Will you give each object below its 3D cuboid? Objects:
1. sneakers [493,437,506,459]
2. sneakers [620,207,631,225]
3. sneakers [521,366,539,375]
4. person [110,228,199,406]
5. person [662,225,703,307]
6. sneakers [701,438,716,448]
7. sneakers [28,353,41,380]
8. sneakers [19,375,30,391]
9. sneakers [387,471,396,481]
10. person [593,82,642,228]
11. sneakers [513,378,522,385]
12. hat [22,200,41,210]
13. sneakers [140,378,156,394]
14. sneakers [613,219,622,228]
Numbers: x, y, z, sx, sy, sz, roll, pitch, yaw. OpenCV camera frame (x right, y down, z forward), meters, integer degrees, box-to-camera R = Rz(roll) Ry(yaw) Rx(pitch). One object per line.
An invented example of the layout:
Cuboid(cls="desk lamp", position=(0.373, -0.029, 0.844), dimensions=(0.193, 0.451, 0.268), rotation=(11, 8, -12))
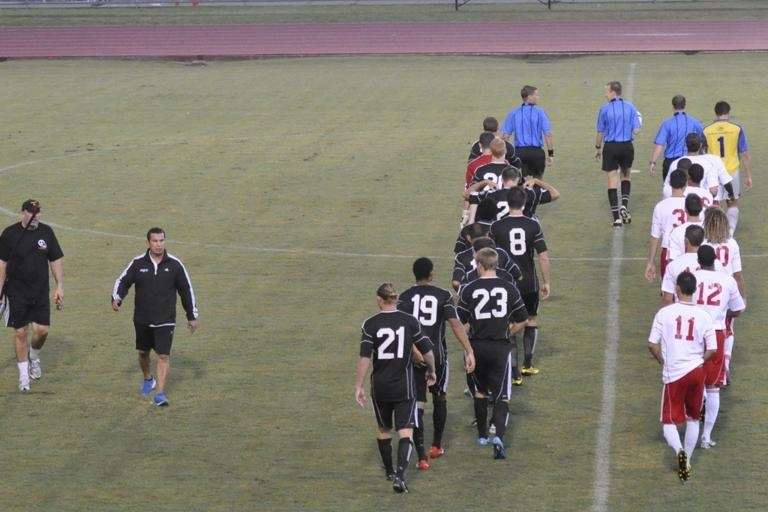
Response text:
Cuboid(cls="sneakers", position=(2.478, 4.166, 44.389), dimensions=(0.225, 0.510, 0.238), rotation=(-8, 16, 20))
Cuboid(cls="sneakers", position=(6.130, -1.057, 51.855), dimensions=(0.202, 0.472, 0.235), rotation=(-14, 19, 27))
Cuboid(cls="sneakers", position=(3.272, 2.589, 46.146), dimensions=(0.370, 0.224, 0.151), rotation=(-4, 45, -3))
Cuboid(cls="person", position=(-5.062, 1.320, 45.578), dimensions=(1.746, 3.875, 0.951), rotation=(-3, 14, -4))
Cuboid(cls="person", position=(6.388, 0.050, 45.205), dimensions=(0.781, 0.537, 1.821), rotation=(-4, 48, -2))
Cuboid(cls="sneakers", position=(7.040, 4.067, 44.582), dimensions=(0.144, 0.141, 0.356), rotation=(8, 16, 40))
Cuboid(cls="sneakers", position=(-7.829, 2.487, 46.202), dimensions=(0.238, 0.554, 0.290), rotation=(-8, -6, -41))
Cuboid(cls="sneakers", position=(-8.046, 2.863, 45.894), dimensions=(0.212, 0.314, 0.150), rotation=(-2, 14, -1))
Cuboid(cls="sneakers", position=(0.132, 4.731, 43.932), dimensions=(0.112, 0.091, 0.215), rotation=(3, 24, 0))
Cuboid(cls="person", position=(5.826, -2.575, 51.388), dimensions=(1.006, 3.701, 0.601), rotation=(-5, 14, -11))
Cuboid(cls="sneakers", position=(2.973, 2.808, 45.954), dimensions=(0.165, 0.095, 0.203), rotation=(1, 1, -20))
Cuboid(cls="hat", position=(-7.915, -1.133, 45.939), dimensions=(0.321, 0.209, 0.402), rotation=(-2, 10, -24))
Cuboid(cls="sneakers", position=(-5.272, 2.934, 45.917), dimensions=(0.190, 0.450, 0.221), rotation=(14, -15, 32))
Cuboid(cls="sneakers", position=(5.862, -0.830, 51.680), dimensions=(0.208, 0.146, 0.377), rotation=(1, 7, 5))
